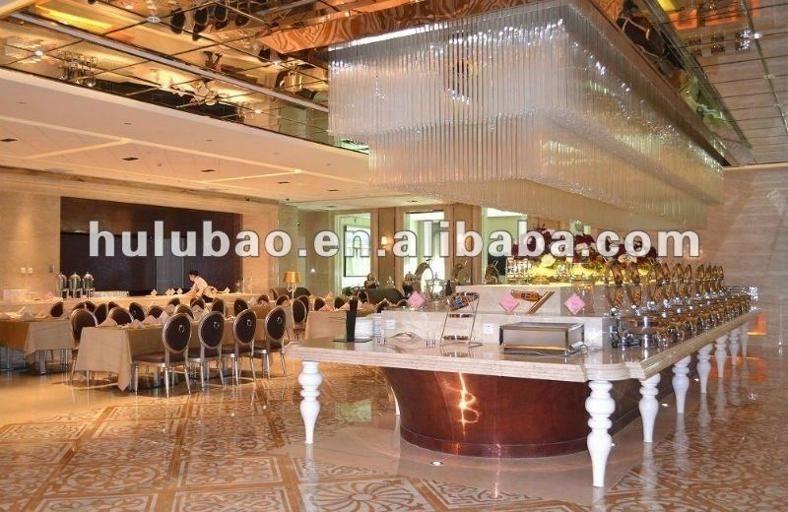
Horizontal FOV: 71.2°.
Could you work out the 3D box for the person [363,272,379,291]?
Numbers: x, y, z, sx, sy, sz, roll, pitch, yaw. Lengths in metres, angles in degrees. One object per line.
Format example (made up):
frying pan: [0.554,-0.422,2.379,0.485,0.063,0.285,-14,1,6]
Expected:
person: [-0.818,0.879,19.368,0.684,0.820,0.471,3,-24,-13]

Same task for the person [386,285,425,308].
person: [0.177,0.816,11.314,0.947,0.444,1.106,-1,-2,35]

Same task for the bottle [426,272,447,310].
bottle: [0.443,0.387,6.039,0.284,0.373,0.274,1,-2,0]

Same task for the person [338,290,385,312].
person: [-0.774,1.100,12.632,0.974,0.414,0.948,2,0,23]

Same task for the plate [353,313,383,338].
plate: [-0.279,0.747,5.872,0.286,0.136,0.368,0,-2,-11]
